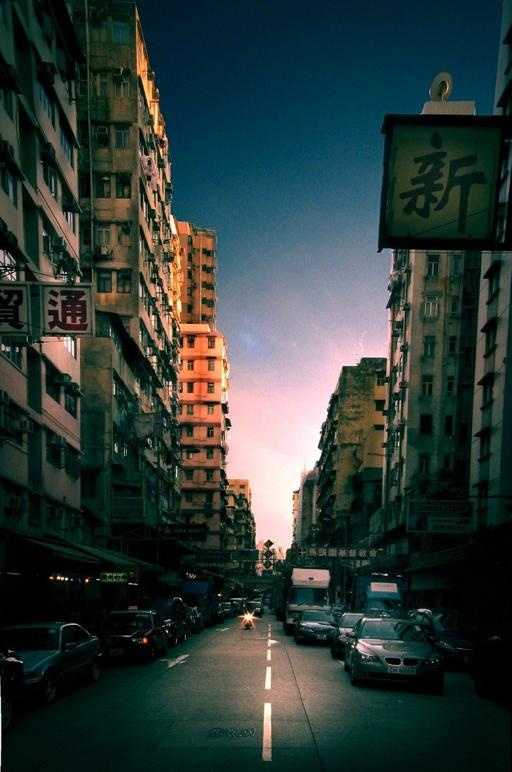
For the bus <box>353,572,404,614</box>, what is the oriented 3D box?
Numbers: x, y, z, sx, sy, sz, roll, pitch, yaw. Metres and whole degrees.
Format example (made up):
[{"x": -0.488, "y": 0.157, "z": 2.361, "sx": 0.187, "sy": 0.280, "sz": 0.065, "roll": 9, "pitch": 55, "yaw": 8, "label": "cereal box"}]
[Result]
[{"x": 4.499, "y": 7.623, "z": 32.880, "sx": 1.718, "sy": 1.882, "sz": 7.407, "roll": 0, "pitch": -17, "yaw": 6, "label": "bus"}]
